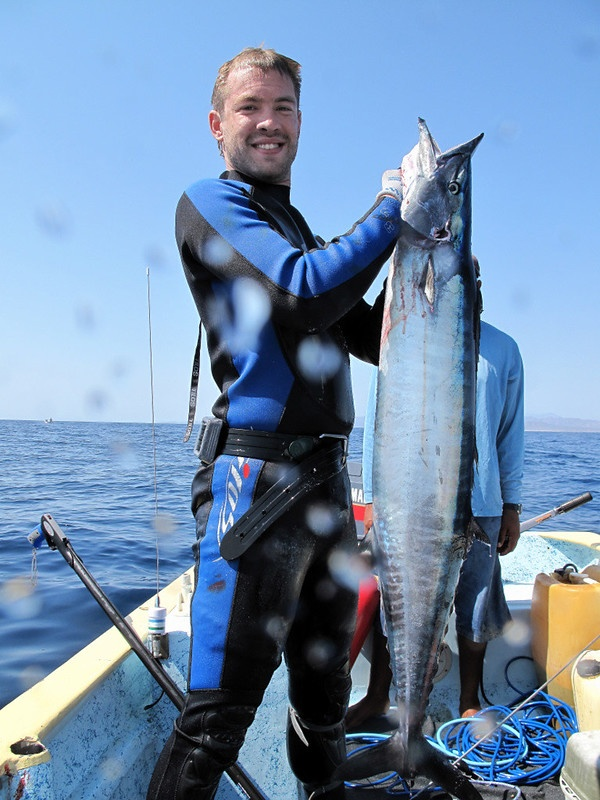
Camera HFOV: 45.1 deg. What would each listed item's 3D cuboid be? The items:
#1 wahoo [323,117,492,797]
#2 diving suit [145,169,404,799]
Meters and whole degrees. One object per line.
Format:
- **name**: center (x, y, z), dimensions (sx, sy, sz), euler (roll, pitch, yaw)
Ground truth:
- **wahoo**: center (0.346, 0.117, 2.221), dimensions (0.408, 1.957, 0.407), euler (7, -4, -37)
- **diving suit**: center (-0.029, 0.243, 1.961), dimensions (0.579, 1.767, 0.631), euler (-11, -9, 42)
